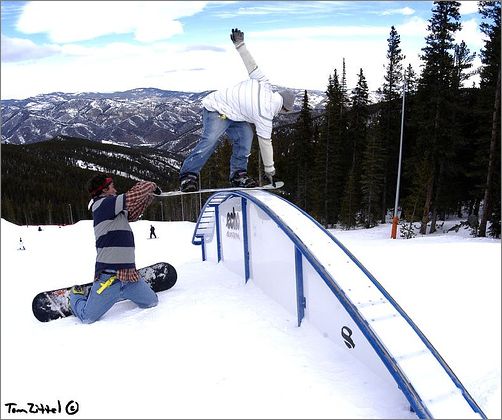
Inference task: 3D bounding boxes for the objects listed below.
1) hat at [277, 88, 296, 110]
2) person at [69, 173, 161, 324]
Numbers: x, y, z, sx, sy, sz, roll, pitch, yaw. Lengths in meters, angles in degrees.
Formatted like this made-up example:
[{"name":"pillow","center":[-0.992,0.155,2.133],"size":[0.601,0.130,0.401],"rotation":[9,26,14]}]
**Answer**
[{"name":"hat","center":[0.617,-1.854,7.466],"size":[0.277,0.330,0.363],"rotation":[12,45,-7]},{"name":"person","center":[-2.162,0.584,6.948],"size":[1.400,2.234,0.813],"rotation":[-4,11,-20]}]
